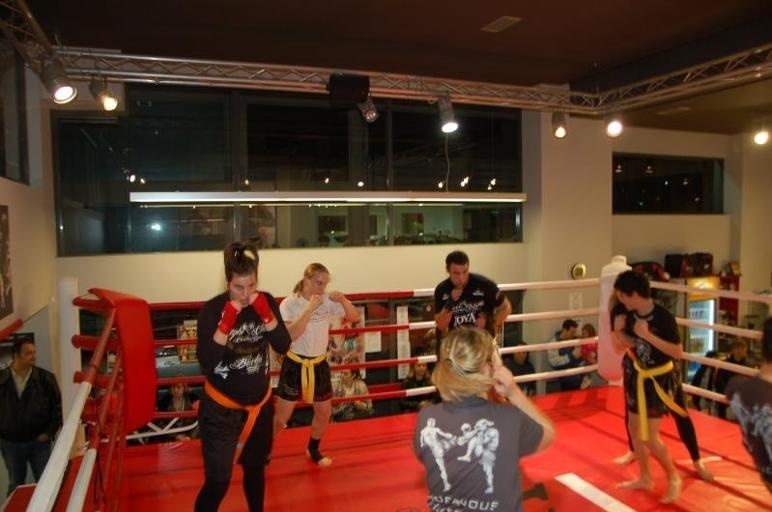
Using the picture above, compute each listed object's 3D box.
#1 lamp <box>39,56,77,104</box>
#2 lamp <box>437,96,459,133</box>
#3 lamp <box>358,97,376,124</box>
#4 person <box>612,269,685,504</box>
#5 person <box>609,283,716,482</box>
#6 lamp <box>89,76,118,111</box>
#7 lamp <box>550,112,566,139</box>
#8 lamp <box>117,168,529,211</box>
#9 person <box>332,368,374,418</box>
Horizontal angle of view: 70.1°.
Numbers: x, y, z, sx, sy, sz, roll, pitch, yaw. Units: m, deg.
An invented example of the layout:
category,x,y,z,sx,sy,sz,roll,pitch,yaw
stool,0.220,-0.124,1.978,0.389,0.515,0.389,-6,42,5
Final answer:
category,x,y,z,sx,sy,sz,roll,pitch,yaw
lamp,-3.743,-2.012,6.273,0.308,0.486,0.337,-5,6,-39
lamp,0.878,-2.023,7.852,0.253,0.464,0.481,-1,5,6
lamp,-0.256,-2.073,7.653,0.226,0.343,0.428,-2,5,-4
person,2.310,1.123,4.876,0.603,1.995,0.337,1,5,27
person,2.452,1.232,4.956,0.859,2.134,0.653,-9,6,24
lamp,-3.518,-2.012,6.826,0.275,0.367,0.222,-4,5,-25
lamp,2.630,-2.017,8.357,0.181,0.382,0.323,0,5,15
lamp,-0.749,-0.884,8.336,5.733,0.281,0.894,-3,5,-16
person,-0.463,1.936,7.587,0.704,0.245,0.724,-7,43,3
